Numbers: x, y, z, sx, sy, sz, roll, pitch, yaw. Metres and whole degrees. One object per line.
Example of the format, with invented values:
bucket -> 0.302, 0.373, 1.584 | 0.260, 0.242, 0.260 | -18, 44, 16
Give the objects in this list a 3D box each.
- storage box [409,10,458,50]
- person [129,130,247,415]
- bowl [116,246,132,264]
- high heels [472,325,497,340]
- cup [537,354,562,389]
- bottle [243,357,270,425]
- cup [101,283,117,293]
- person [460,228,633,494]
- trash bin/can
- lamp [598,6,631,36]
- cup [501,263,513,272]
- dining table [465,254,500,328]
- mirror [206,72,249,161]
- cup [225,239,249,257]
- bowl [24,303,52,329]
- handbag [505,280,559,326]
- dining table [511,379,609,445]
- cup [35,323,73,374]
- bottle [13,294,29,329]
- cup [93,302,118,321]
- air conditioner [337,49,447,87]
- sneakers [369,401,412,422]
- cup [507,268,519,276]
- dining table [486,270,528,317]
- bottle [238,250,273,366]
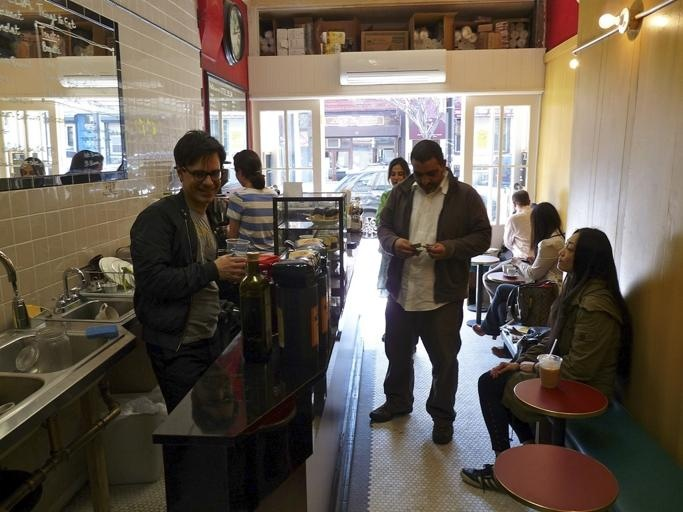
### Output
storage box -> 1.217, -3.015, 6.767 | 0.597, 0.374, 0.597 | 1, 8, 4
person -> -0.698, 0.083, 2.333 | 0.477, 1.277, 0.514 | -9, 14, -28
bowl -> -1.449, 0.000, 3.379 | 0.110, 0.097, 0.063 | 1, 16, 0
high heels -> 1.446, 0.777, 5.161 | 0.226, 0.091, 0.081 | 19, 14, 31
cup -> 1.024, 0.572, 2.516 | 0.125, 0.132, 0.125 | 2, -7, 0
bottle -> -0.297, 0.465, 1.770 | 0.111, 0.219, 0.121 | 1, 4, 0
cup -> -1.398, 0.193, 3.051 | 0.061, 0.060, 0.060 | 1, 5, 0
person -> 1.185, 0.621, 3.036 | 0.939, 1.562, 0.694 | 1, -5, 19
trash bin/can -> -1.185, 1.091, 2.993 | 0.376, 0.516, 0.208 | -3, 13, -3
lamp -> 1.667, -1.443, 3.118 | 0.146, 0.166, 0.370 | 3, 14, 21
cup -> 1.650, 0.118, 5.052 | 0.083, 0.061, 0.084 | 1, 6, 0
dining table -> 1.486, 0.401, 5.493 | 0.419, 0.647, 0.411 | 4, -6, -35
mirror -> -1.478, -1.630, 6.141 | 0.012, 0.776, 1.295 | -7, 20, -34
cup -> -0.461, -0.042, 2.233 | 0.092, 0.063, 0.092 | 3, 13, -1
bowl -> -1.637, 0.328, 2.730 | 0.133, 0.066, 0.185 | 6, 28, -18
handbag -> 1.585, 0.411, 4.236 | 0.373, 0.374, 0.325 | 1, -11, 28
dining table -> 1.044, 0.738, 2.469 | 0.360, 0.400, 0.365 | 1, 13, 14
cup -> -1.390, 0.449, 2.441 | 0.153, 0.199, 0.075 | -12, 16, -38
bottle -> -1.620, 0.282, 2.567 | 0.049, 0.177, 0.070 | 10, 18, 44
cup -> -1.306, 0.315, 2.849 | 0.132, 0.133, 0.088 | 2, -2, -10
air conditioner -> 0.652, -2.599, 6.665 | 1.312, 0.383, 0.433 | 0, 53, 2
sneakers -> 0.340, 1.133, 3.724 | 0.332, 0.142, 0.121 | 0, 1, -14
cup -> 1.690, 0.167, 5.009 | 0.060, 0.052, 0.083 | 9, 18, -15
dining table -> 1.613, 0.358, 5.027 | 0.345, 0.255, 0.337 | -10, 14, -41
bottle -> -0.320, 0.189, 1.906 | 0.118, 0.415, 0.145 | -4, 13, -9
